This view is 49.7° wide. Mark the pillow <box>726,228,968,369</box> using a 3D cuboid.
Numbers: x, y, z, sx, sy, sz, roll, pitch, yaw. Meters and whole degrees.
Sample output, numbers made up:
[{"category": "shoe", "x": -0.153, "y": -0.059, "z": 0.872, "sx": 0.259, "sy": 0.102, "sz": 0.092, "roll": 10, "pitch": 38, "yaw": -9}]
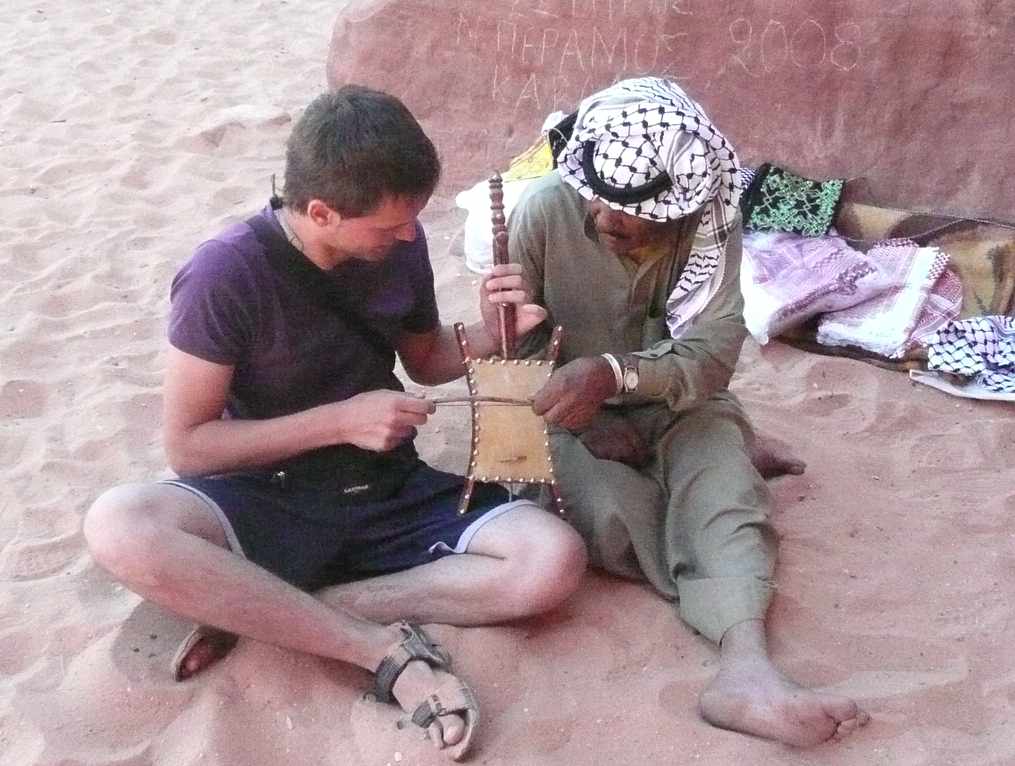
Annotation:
[{"category": "pillow", "x": 1.641, "y": -0.401, "z": 5.308, "sx": 0.910, "sy": 0.254, "sz": 0.637, "roll": 9, "pitch": 60, "yaw": 11}]

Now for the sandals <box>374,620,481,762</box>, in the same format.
[{"category": "sandals", "x": -0.235, "y": 0.957, "z": 3.437, "sx": 0.229, "sy": 0.133, "sz": 0.436, "roll": -37, "pitch": 73, "yaw": -3}]

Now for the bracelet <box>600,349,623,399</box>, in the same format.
[{"category": "bracelet", "x": 0.383, "y": -0.025, "z": 3.885, "sx": 0.056, "sy": 0.154, "sz": 0.100, "roll": -19, "pitch": 49, "yaw": -3}]
